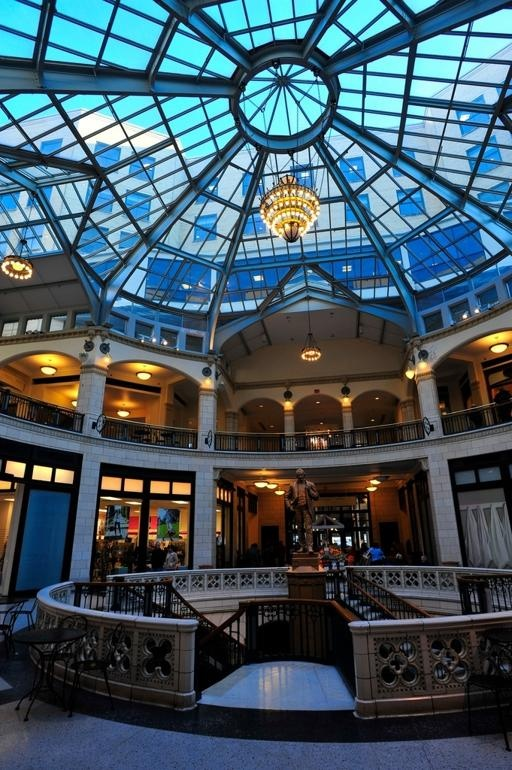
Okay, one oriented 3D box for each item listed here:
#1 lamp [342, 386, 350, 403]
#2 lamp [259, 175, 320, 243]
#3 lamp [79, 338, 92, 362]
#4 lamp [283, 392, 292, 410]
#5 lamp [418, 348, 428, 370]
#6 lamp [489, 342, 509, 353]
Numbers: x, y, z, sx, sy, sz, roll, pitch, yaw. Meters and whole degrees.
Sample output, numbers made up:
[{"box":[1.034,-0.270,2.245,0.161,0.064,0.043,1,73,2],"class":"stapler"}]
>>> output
[{"box":[4.657,0.398,22.861,0.508,0.888,0.243,0,-21,0],"class":"lamp"},{"box":[0.926,-4.974,12.333,1.395,1.869,1.445,-10,-12,40],"class":"lamp"},{"box":[-6.256,-1.294,16.372,0.481,1.031,0.234,-10,-23,23],"class":"lamp"},{"box":[1.687,0.797,23.248,0.538,1.119,0.298,-3,-21,6],"class":"lamp"},{"box":[6.695,-1.050,17.852,0.220,0.759,0.494,14,-25,-32],"class":"lamp"},{"box":[8.795,-1.380,16.132,0.511,0.141,0.517,11,-14,-14],"class":"lamp"}]
